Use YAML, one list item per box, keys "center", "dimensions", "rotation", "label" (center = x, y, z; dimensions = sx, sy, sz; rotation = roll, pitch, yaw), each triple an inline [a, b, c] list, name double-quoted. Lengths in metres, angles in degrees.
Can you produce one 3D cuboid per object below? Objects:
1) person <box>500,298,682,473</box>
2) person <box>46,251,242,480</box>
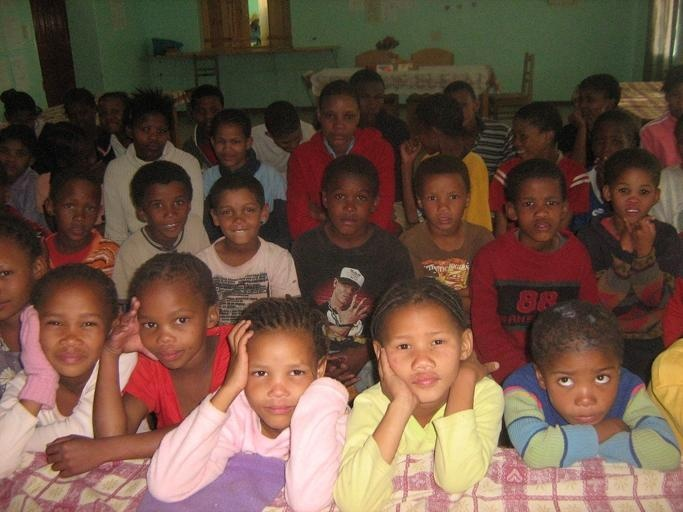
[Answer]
- center: [1.054, 0.616, 2.934]
  dimensions: [0.618, 0.578, 0.736]
  rotation: [-8, 39, 13]
  label: "person"
- center: [-0.830, 0.460, 3.019]
  dimensions: [0.847, 0.755, 1.291]
  rotation: [5, 10, 1]
  label: "person"
